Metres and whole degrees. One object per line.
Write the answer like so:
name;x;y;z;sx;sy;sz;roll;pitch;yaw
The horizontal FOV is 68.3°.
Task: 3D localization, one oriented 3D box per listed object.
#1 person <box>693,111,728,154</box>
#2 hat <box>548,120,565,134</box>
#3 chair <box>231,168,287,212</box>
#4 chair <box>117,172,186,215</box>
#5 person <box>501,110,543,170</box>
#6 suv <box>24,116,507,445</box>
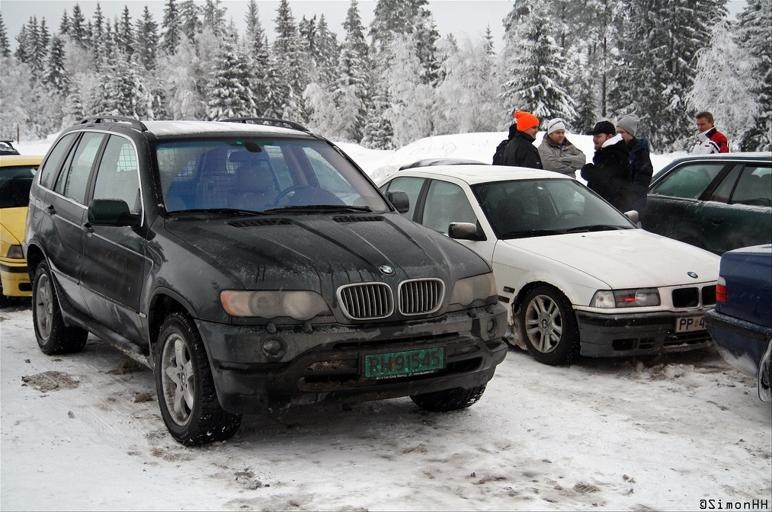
person;6.220;-2.385;10.926;0.549;0.836;1.204;5;10;23
hat;2.969;-2.317;10.203;0.273;0.257;0.351;-4;6;-32
chair;-1.200;-0.582;5.310;0.535;0.438;0.422;0;-1;-29
chair;-2.054;-0.585;5.149;0.557;0.388;0.759;-2;12;-19
person;2.386;-2.063;10.104;0.538;0.894;1.055;2;13;9
suv;-1.687;-0.141;5.769;2.502;1.871;4.968;-3;9;-41
